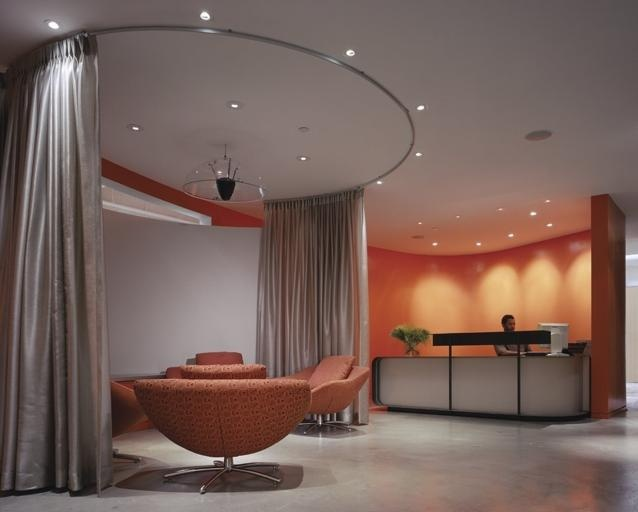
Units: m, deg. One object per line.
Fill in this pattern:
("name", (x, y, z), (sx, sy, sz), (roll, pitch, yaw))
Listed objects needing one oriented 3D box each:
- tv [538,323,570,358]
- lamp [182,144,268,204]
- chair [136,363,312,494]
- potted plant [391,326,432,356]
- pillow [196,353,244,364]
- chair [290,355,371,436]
("tv", (3.651, 1.275, 7.712), (0.380, 0.493, 1.014), (-5, -12, 23))
("lamp", (-0.961, -0.971, 5.200), (0.767, 0.723, 0.699), (3, -17, -15))
("chair", (-0.694, 1.301, 3.752), (1.242, 0.762, 0.832), (0, -11, -1))
("potted plant", (1.969, 1.661, 10.268), (0.935, 0.582, 0.884), (5, -9, -20))
("pillow", (-1.382, 1.404, 6.910), (0.617, 0.150, 0.331), (0, -11, -3))
("chair", (-0.041, 1.744, 6.332), (1.198, 0.866, 1.184), (3, -11, -29))
